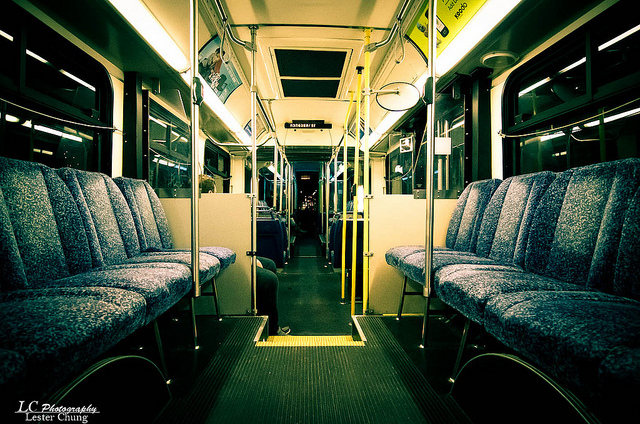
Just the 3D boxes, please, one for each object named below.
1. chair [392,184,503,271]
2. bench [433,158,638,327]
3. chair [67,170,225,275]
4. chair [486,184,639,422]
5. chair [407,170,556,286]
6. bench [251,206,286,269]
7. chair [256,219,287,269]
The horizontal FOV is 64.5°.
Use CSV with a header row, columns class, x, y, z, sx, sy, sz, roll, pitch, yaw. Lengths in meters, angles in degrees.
class,x,y,z,sx,sy,sz,roll,pitch,yaw
chair,1.282,0.200,4.861,0.510,0.800,0.722,7,23,45
bench,1.640,0.249,4.394,1.360,1.709,1.122,5,-5,-10
chair,-1.469,0.112,4.640,1.087,0.951,1.567,0,-1,4
chair,1.565,0.759,3.784,1.198,1.531,0.912,2,-4,2
chair,1.306,0.127,4.469,1.086,1.170,1.300,5,2,-20
bench,-0.702,0.362,6.844,0.497,0.919,0.914,-1,4,0
chair,-0.722,0.429,7.381,0.386,0.629,0.535,0,-2,-8
